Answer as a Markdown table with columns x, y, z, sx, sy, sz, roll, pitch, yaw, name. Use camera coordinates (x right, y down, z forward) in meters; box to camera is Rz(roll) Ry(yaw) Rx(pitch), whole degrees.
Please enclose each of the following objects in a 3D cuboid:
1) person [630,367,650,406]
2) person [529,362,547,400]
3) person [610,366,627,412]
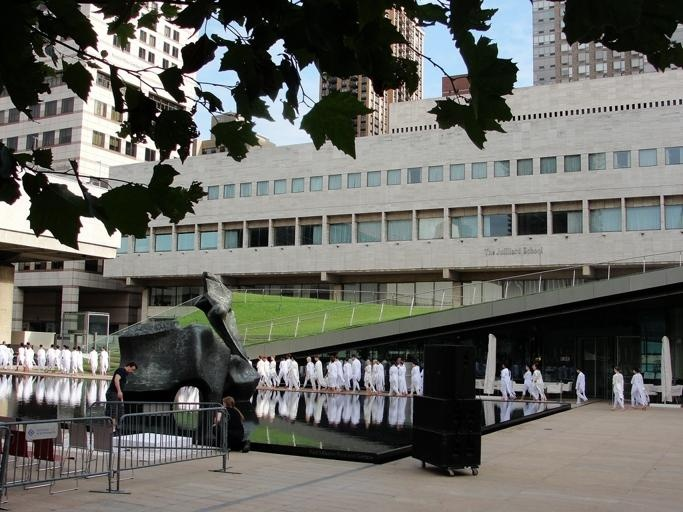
| x | y | z | sx | sy | sz | roll | pitch | yaw | name |
| --- | --- | --- | --- | --- | --- | --- | --- | --- | --- |
| 10.221 | 4.529 | 27.742 | 0.523 | 1.187 | 1.360 | -5 | -10 | 18 | person |
| 7.648 | 4.848 | 31.361 | 0.471 | 1.358 | 0.856 | -3 | -10 | 10 | person |
| 9.532 | 4.458 | 27.757 | 0.405 | 1.370 | 1.548 | -5 | -10 | 18 | person |
